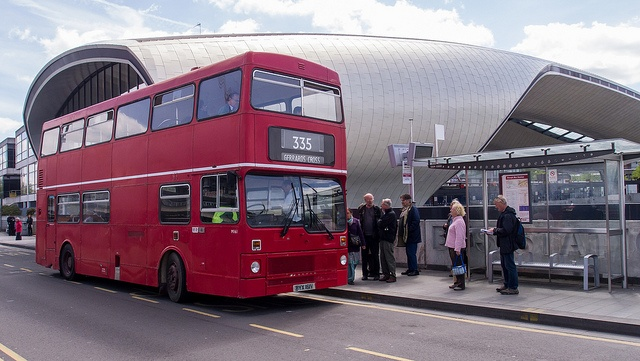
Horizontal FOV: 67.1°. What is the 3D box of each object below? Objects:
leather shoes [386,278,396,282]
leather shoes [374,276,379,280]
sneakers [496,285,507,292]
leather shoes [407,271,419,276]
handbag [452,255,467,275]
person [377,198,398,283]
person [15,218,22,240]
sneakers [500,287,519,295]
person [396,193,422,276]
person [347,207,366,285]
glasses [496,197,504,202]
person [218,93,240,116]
[{"bbox_3d":[2.548,3.505,17.089,0.334,0.161,0.248,-1,7,10],"label":"leather shoes"},{"bbox_3d":[2.087,3.547,17.634,0.144,0.072,0.201,1,-2,0],"label":"leather shoes"},{"bbox_3d":[5.810,3.440,15.342,0.389,0.163,0.133,-9,-8,43],"label":"sneakers"},{"bbox_3d":[3.525,3.453,18.045,0.474,0.184,0.160,5,-5,-20],"label":"leather shoes"},{"bbox_3d":[4.534,2.745,15.614,0.371,0.657,0.452,0,7,17],"label":"handbag"},{"bbox_3d":[2.472,2.191,17.421,0.648,2.981,1.254,-1,7,7],"label":"person"},{"bbox_3d":[-25.927,4.136,41.144,0.396,1.840,1.452,-7,8,-31],"label":"person"},{"bbox_3d":[5.959,3.423,15.092,0.611,0.249,0.209,3,-5,2],"label":"sneakers"},{"bbox_3d":[3.423,1.990,18.142,0.823,3.092,0.789,0,8,17],"label":"person"},{"bbox_3d":[1.300,2.336,17.137,0.602,2.703,1.291,-1,7,6],"label":"person"},{"bbox_3d":[5.790,0.587,15.341,0.135,0.103,0.174,10,20,-17],"label":"glasses"},{"bbox_3d":[-2.654,-2.293,14.136,0.730,0.643,0.257,4,9,40],"label":"person"}]
